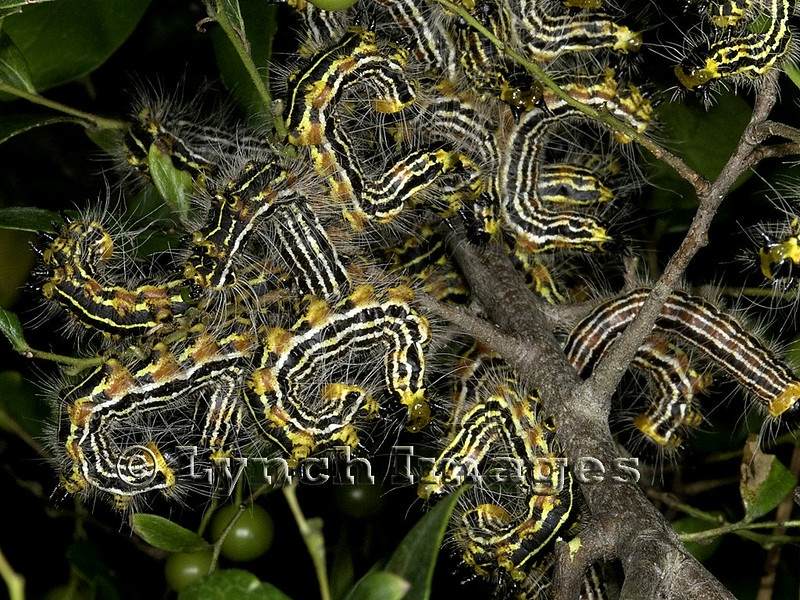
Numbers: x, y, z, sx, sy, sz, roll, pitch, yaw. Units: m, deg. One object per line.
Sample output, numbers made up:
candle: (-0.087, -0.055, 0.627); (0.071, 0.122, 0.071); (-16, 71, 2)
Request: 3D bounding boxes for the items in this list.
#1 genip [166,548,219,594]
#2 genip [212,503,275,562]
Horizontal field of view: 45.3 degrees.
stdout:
genip: (-0.425, 0.556, 1.980); (0.091, 0.080, 0.084); (-16, 74, -36)
genip: (-0.338, 0.508, 2.100); (0.122, 0.130, 0.130); (-9, 47, -3)
